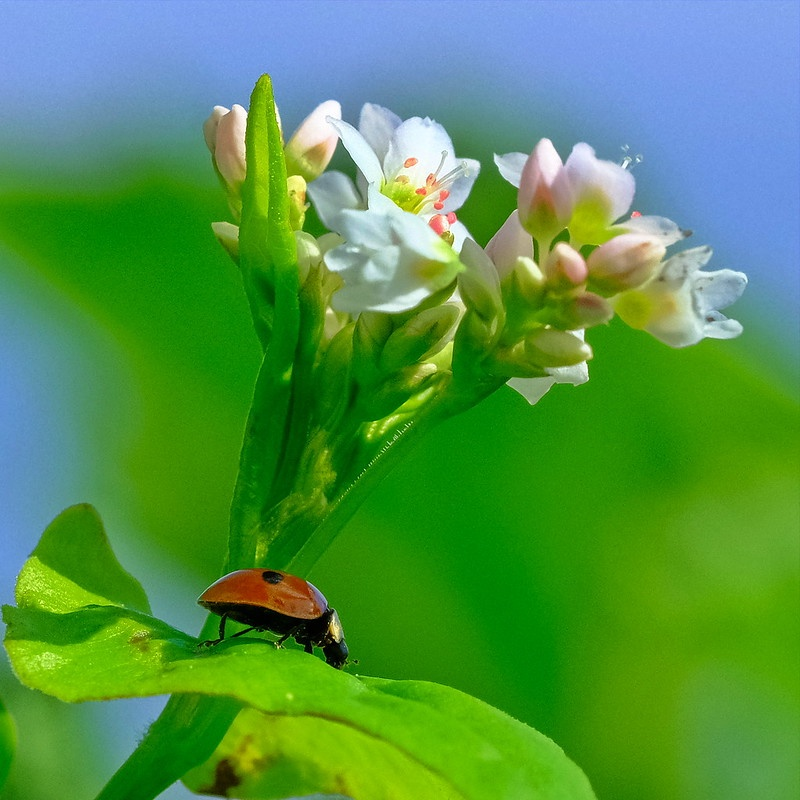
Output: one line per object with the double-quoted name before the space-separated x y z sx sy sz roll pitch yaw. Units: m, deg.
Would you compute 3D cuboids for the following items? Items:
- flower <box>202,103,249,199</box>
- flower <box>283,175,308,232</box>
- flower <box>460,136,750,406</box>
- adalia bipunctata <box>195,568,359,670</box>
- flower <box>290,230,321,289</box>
"flower" -0.283 -0.410 1.738 0.100 0.142 0.055 -2 14 41
"flower" -0.163 -0.324 1.742 0.028 0.076 0.062 1 -3 18
"flower" 0.353 -0.197 1.652 0.403 0.382 0.179 -9 31 39
"adalia bipunctata" -0.150 0.334 1.680 0.270 0.134 0.201 18 -18 -11
"flower" -0.144 -0.227 1.668 0.032 0.073 0.063 -4 1 -41
